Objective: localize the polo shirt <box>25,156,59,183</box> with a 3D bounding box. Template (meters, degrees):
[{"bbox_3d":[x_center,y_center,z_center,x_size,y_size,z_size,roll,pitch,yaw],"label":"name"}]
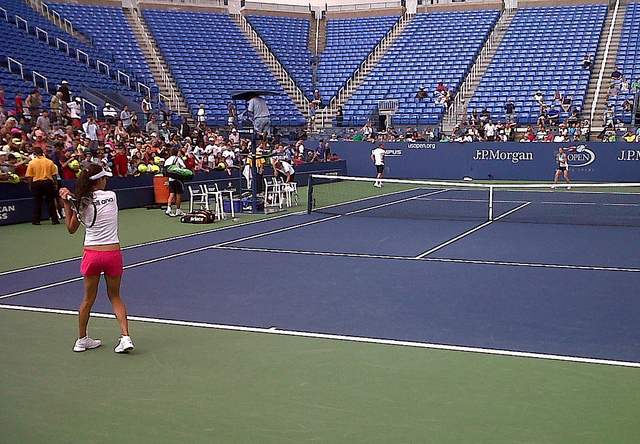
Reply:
[{"bbox_3d":[-8.043,-1.572,17.434,0.827,0.751,0.451,-1,9,-5],"label":"polo shirt"}]

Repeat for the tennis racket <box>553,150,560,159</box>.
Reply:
[{"bbox_3d":[12.277,-3.517,31.128,0.231,0.387,1.424,3,13,17],"label":"tennis racket"}]

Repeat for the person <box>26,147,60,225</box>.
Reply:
[{"bbox_3d":[-8.084,-1.038,17.542,0.787,2.289,0.572,-6,13,-23],"label":"person"}]

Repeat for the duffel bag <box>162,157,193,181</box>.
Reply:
[{"bbox_3d":[-4.495,-1.661,19.034,1.042,0.670,0.468,7,14,29],"label":"duffel bag"}]

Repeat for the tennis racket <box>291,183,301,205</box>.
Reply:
[{"bbox_3d":[-0.861,-0.886,22.613,0.313,0.433,0.713,-16,5,4],"label":"tennis racket"}]

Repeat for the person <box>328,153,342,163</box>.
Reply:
[{"bbox_3d":[0.844,-3.670,34.304,0.978,0.413,1.223,-2,24,0],"label":"person"}]

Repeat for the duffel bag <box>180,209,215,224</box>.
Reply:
[{"bbox_3d":[-3.596,-0.136,17.912,0.723,0.307,0.444,-8,-4,20],"label":"duffel bag"}]

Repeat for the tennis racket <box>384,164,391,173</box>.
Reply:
[{"bbox_3d":[3.924,-3.066,34.632,0.274,0.391,0.208,-8,8,-12],"label":"tennis racket"}]

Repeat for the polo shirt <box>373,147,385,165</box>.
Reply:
[{"bbox_3d":[2.906,-3.216,29.620,0.495,0.733,0.441,-2,12,-7],"label":"polo shirt"}]

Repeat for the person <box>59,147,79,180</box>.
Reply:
[{"bbox_3d":[-8.107,-1.843,19.305,0.603,0.795,1.937,2,-12,-24],"label":"person"}]

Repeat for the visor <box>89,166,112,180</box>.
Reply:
[{"bbox_3d":[-2.923,-0.658,8.016,0.263,0.081,0.148,-13,13,-40],"label":"visor"}]

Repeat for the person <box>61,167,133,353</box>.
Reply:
[{"bbox_3d":[-2.996,0.538,8.045,0.795,2.516,0.633,-4,13,-13],"label":"person"}]

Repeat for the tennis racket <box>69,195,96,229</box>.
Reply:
[{"bbox_3d":[-3.124,-0.136,7.939,0.330,0.467,0.202,-6,13,-24],"label":"tennis racket"}]
